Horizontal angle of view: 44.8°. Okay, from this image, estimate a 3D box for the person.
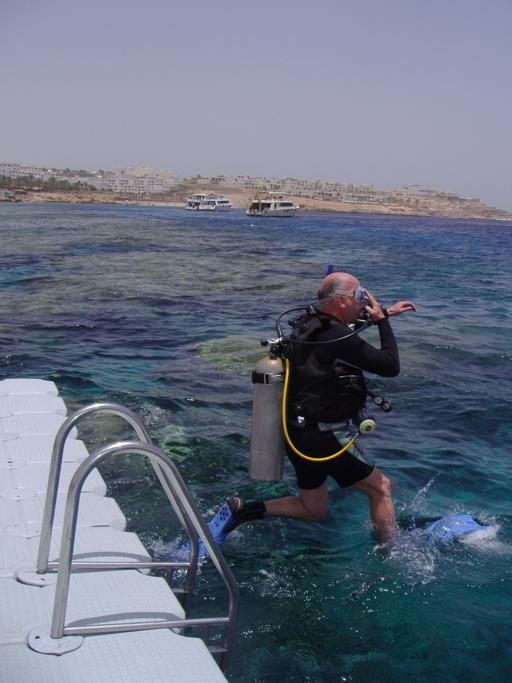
[{"bbox_3d":[0.359,0.442,3.790,1.162,1.715,0.417,3,13,-3],"label":"person"}]

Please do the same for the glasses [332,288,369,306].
[{"bbox_3d":[0.586,-0.258,3.713,0.157,0.049,0.133,3,7,-10],"label":"glasses"}]
